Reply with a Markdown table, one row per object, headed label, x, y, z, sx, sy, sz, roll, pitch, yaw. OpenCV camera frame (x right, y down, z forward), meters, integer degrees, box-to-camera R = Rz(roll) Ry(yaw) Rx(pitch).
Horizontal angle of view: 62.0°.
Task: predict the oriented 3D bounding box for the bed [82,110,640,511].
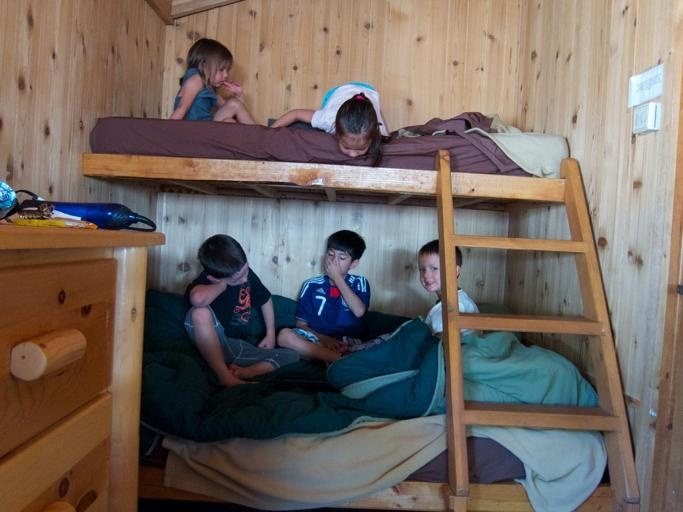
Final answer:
| label | x | y | z | sx | sy | sz | roll | pitch | yaw |
| --- | --- | --- | --- | --- | --- | --- | --- | --- | --- |
| bed | 0.023 | 0.124 | 2.617 | 2.205 | 1.509 | 1.341 | 3 | 1 | 7 |

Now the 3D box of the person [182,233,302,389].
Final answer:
| label | x | y | z | sx | sy | sz | roll | pitch | yaw |
| --- | --- | --- | --- | --- | --- | --- | --- | --- | --- |
| person | -0.455 | 0.240 | 2.733 | 0.535 | 0.764 | 0.594 | 10 | 15 | 34 |
